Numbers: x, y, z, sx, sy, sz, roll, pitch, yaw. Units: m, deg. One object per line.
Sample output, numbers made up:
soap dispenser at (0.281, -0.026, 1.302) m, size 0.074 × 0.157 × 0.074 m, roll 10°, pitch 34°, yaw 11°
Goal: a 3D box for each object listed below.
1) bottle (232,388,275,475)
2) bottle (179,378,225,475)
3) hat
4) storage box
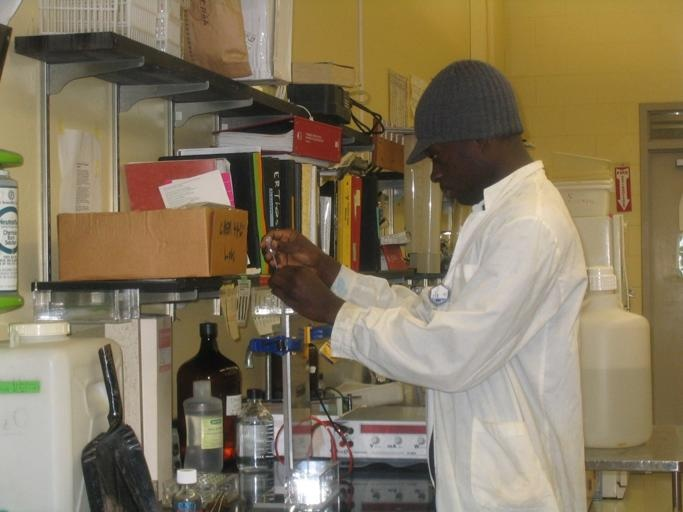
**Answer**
bottle at (-0.313, 0.627, 4.250) m, size 0.153 × 0.278 × 0.162 m, roll -1°, pitch 1°, yaw 0°
bottle at (-0.480, 0.587, 4.116) m, size 0.137 × 0.354 × 0.145 m, roll 2°, pitch 16°, yaw 0°
hat at (0.409, -0.500, 3.998) m, size 0.399 × 0.327 × 0.320 m, roll -7°, pitch 6°, yaw 21°
storage box at (-0.630, -0.031, 3.979) m, size 0.518 × 0.262 × 0.421 m, roll -3°, pitch -1°, yaw 11°
